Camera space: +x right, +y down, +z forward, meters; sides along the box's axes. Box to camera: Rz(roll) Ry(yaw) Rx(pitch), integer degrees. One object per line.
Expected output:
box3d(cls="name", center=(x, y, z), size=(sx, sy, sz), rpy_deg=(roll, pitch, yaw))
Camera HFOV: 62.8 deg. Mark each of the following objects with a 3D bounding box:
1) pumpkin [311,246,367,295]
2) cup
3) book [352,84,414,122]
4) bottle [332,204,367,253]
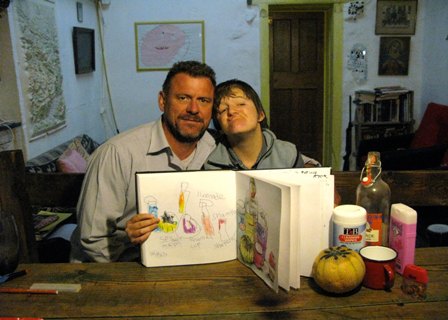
box3d(cls="pumpkin", center=(0.463, 0.435, 1.585), size=(0.210, 0.181, 0.199), rpy_deg=(-9, 2, -6))
box3d(cls="cup", center=(0.644, 0.451, 1.590), size=(0.138, 0.123, 0.192), rpy_deg=(0, 13, 3))
box3d(cls="book", center=(2.532, -0.866, 5.932), size=(1.147, 0.655, 0.569), rpy_deg=(0, 2, -6))
box3d(cls="bottle", center=(0.533, 0.295, 1.573), size=(0.131, 0.192, 0.087), rpy_deg=(-7, 13, -23))
